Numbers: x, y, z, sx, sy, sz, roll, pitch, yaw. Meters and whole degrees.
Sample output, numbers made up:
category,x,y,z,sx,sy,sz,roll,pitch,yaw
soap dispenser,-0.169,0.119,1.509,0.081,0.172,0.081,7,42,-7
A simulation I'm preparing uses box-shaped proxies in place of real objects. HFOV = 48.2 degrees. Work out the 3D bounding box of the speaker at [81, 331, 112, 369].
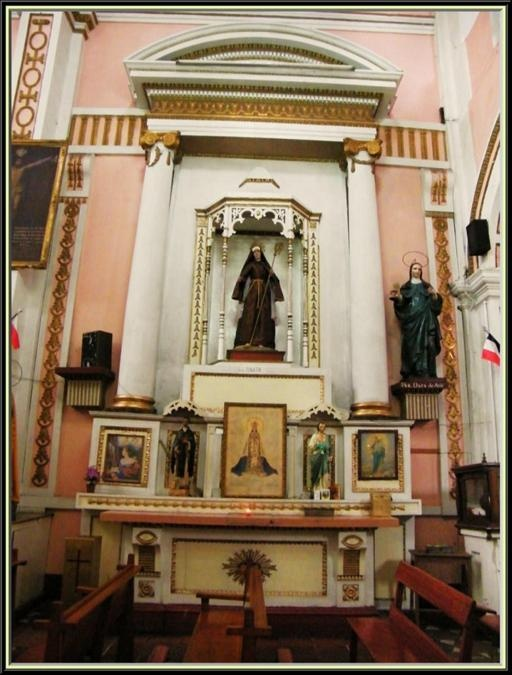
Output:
category,x,y,z,sx,sy,sz,roll,pitch,yaw
speaker,-1.559,0.123,5.623,0.284,0.358,0.199,8,-15,-24

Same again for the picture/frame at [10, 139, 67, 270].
category,x,y,z,sx,sy,sz,roll,pitch,yaw
picture/frame,-2.411,-1.440,6.142,0.571,1.518,0.110,1,-13,3

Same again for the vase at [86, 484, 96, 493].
category,x,y,z,sx,sy,sz,roll,pitch,yaw
vase,-1.388,1.266,4.820,0.071,0.086,0.073,-1,-1,-7

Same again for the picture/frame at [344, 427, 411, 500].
category,x,y,z,sx,sy,sz,roll,pitch,yaw
picture/frame,1.040,1.104,4.903,0.570,0.646,0.070,2,-27,-2

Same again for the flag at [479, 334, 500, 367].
category,x,y,z,sx,sy,sz,roll,pitch,yaw
flag,2.281,0.134,5.560,0.250,0.292,0.023,22,-24,-31

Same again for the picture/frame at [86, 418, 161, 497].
category,x,y,z,sx,sy,sz,roll,pitch,yaw
picture/frame,-1.140,1.046,4.923,0.610,0.743,0.059,3,-22,-7

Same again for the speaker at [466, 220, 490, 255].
category,x,y,z,sx,sy,sz,roll,pitch,yaw
speaker,2.346,-1.037,6.122,0.168,0.390,0.326,5,-14,-13

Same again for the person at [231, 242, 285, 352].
category,x,y,z,sx,sy,sz,roll,pitch,yaw
person,0.014,-0.378,5.771,0.515,1.105,0.369,2,-13,-4

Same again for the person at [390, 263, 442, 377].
category,x,y,z,sx,sy,sz,roll,pitch,yaw
person,1.616,-0.167,5.827,0.517,1.263,0.469,1,-13,2

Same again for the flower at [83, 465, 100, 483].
category,x,y,z,sx,sy,sz,roll,pitch,yaw
flower,-1.406,1.166,4.884,0.118,0.129,0.120,7,-28,-20
